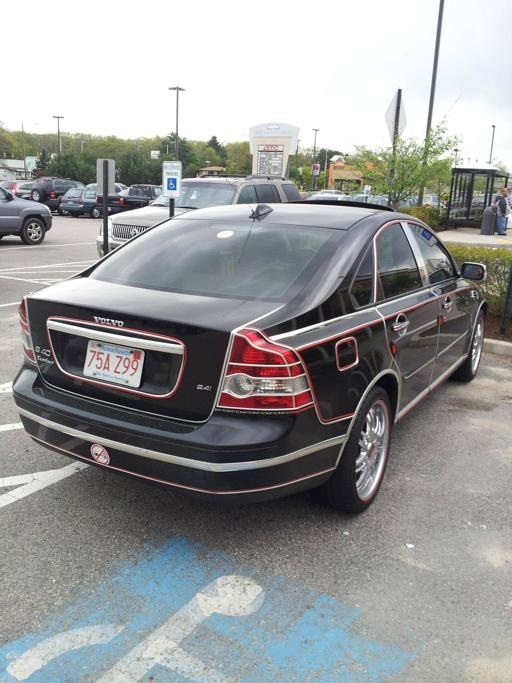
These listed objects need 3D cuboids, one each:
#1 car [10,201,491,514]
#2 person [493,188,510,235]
[{"bbox_3d":[0.366,-0.213,3.140,1.372,1.055,3.046,14,26,31],"label":"car"},{"bbox_3d":[10.731,-5.631,22.403,0.587,1.846,1.420,6,10,23],"label":"person"}]
